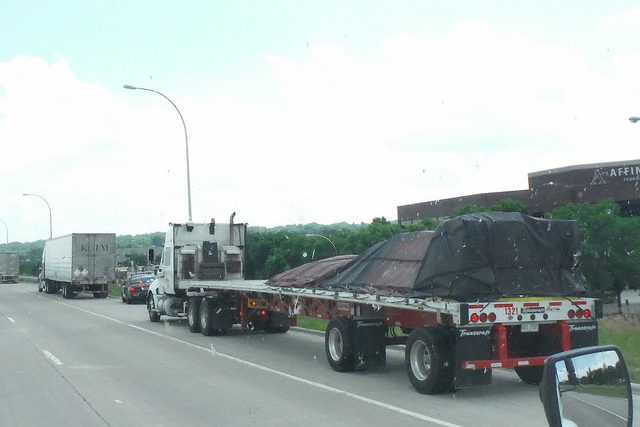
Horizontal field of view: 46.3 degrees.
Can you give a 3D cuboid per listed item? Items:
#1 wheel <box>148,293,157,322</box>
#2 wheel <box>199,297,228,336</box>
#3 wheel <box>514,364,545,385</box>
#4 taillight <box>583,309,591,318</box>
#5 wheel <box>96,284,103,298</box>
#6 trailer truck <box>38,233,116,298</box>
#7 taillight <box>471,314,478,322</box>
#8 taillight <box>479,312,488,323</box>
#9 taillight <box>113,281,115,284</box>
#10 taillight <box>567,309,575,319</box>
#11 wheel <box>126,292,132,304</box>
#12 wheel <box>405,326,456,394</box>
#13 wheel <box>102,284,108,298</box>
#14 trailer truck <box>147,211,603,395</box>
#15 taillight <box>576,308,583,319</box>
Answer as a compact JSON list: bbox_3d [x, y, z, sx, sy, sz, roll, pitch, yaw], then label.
[{"bbox_3d":[-7.105,4.035,32.094,0.258,0.962,0.934,0,-3,-12],"label":"wheel"},{"bbox_3d":[-3.807,3.661,27.134,0.398,1.368,1.237,3,0,-28],"label":"wheel"},{"bbox_3d":[5.310,4.019,18.983,0.822,0.511,0.628,-5,-9,35],"label":"wheel"},{"bbox_3d":[6.605,2.440,18.597,0.188,0.198,0.048,3,-7,-23],"label":"taillight"},{"bbox_3d":[-15.269,5.234,52.081,0.140,0.989,0.909,4,-13,-25],"label":"wheel"},{"bbox_3d":[-16.540,3.587,51.796,4.120,6.192,12.685,3,-3,-28],"label":"trailer truck"},{"bbox_3d":[3.665,2.439,17.749,0.152,0.174,0.034,4,-7,-30],"label":"taillight"},{"bbox_3d":[3.887,2.435,17.827,0.223,0.233,0.043,3,-7,-24],"label":"taillight"},{"bbox_3d":[-14.095,4.626,51.460,0.170,0.203,0.095,1,-2,44],"label":"taillight"},{"bbox_3d":[6.186,2.433,18.461,0.176,0.203,0.047,-4,-16,-4],"label":"taillight"},{"bbox_3d":[-11.603,5.080,45.783,0.340,0.700,0.903,2,-8,-16],"label":"wheel"},{"bbox_3d":[2.647,3.546,18.481,0.464,1.575,1.427,-2,-3,-27],"label":"wheel"},{"bbox_3d":[-15.052,5.234,52.605,0.204,1.020,0.872,0,9,7],"label":"wheel"},{"bbox_3d":[-0.544,2.301,26.092,4.947,5.002,19.770,5,-3,-36],"label":"trailer truck"},{"bbox_3d":[6.410,2.425,18.545,0.194,0.213,0.055,4,-8,-31],"label":"taillight"}]
